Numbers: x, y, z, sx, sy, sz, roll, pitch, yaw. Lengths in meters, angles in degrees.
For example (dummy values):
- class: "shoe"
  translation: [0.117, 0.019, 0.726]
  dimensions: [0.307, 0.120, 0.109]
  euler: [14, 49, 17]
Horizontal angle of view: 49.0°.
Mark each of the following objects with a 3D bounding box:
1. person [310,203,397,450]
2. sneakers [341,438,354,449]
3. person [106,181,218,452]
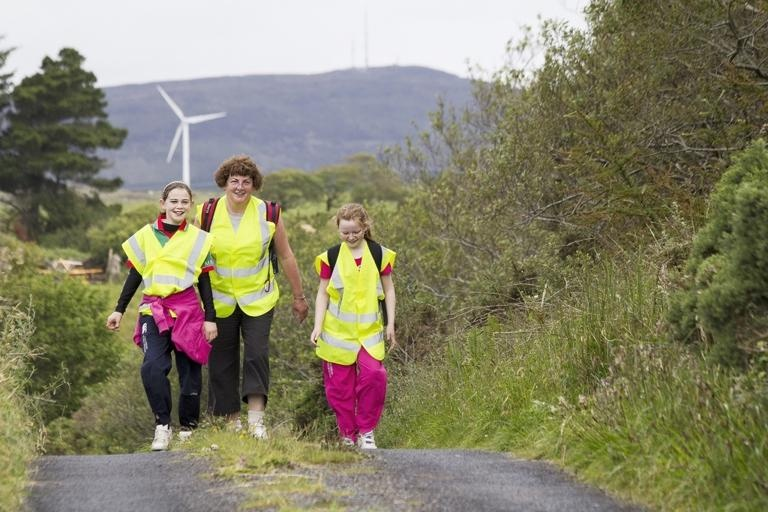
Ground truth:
- class: "person"
  translation: [-0.377, 0.844, 10.559]
  dimensions: [1.045, 3.003, 0.642]
  euler: [-2, 8, 0]
- class: "sneakers"
  translation: [-0.435, 2.288, 10.372]
  dimensions: [0.102, 0.052, 0.128]
  euler: [6, 14, -25]
- class: "person"
  translation: [-2.648, 0.731, 10.476]
  dimensions: [1.137, 3.284, 0.766]
  euler: [-4, 8, -17]
